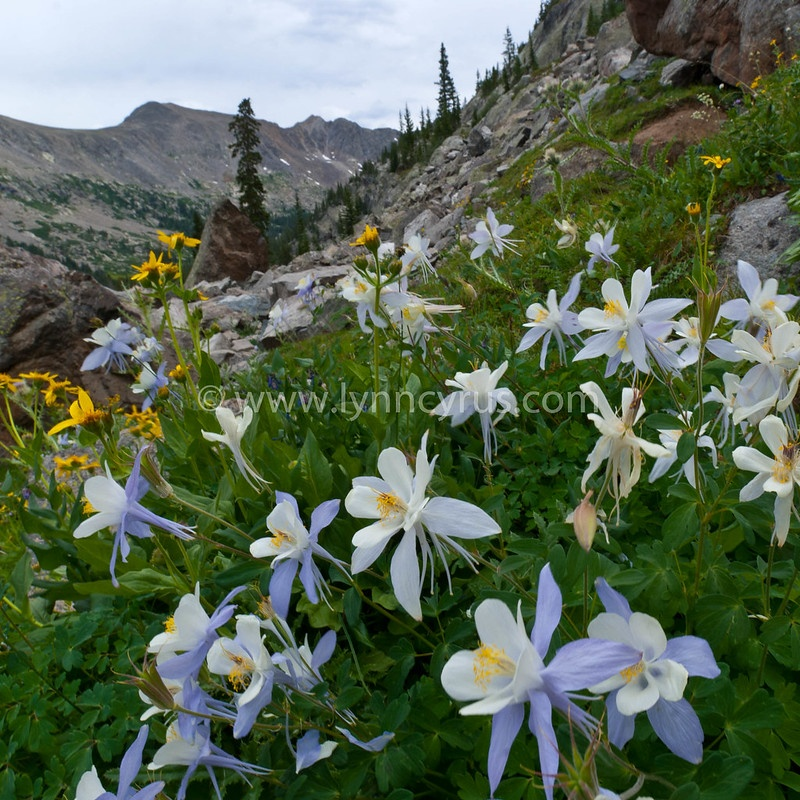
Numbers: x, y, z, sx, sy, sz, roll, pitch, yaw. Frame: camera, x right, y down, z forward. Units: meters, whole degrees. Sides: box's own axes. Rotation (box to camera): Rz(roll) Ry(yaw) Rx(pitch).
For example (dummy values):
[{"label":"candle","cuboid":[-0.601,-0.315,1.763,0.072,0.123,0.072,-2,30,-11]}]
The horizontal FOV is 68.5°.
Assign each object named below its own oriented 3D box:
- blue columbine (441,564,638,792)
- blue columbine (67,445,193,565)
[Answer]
[{"label":"blue columbine","cuboid":[0.230,0.528,1.079,0.325,0.230,0.392,-12,47,23]},{"label":"blue columbine","cuboid":[-0.718,0.308,1.600,0.278,0.209,0.302,21,23,-13]}]
